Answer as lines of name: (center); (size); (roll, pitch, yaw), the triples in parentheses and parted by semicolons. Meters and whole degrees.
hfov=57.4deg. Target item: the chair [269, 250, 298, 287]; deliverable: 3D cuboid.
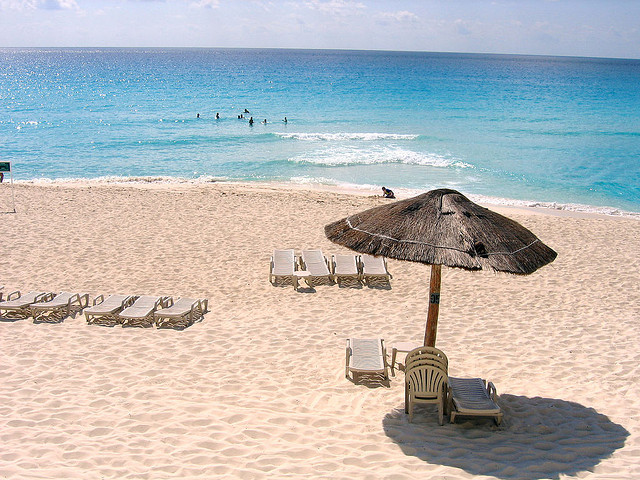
chair: (-0.912, 0.596, 14.231); (0.695, 0.238, 0.872); (1, 27, -1)

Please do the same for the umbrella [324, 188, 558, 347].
umbrella: (1.730, 0.015, 10.166); (3.696, 1.818, 3.478); (-18, 39, -42)

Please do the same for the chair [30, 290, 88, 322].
chair: (-5.526, 1.403, 12.378); (0.802, 0.251, 0.890); (0, 7, 5)

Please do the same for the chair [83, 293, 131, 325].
chair: (-4.431, 1.455, 12.325); (0.742, 0.232, 0.831); (1, 19, 1)

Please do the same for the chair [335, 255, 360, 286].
chair: (0.627, 0.657, 14.262); (0.765, 0.208, 0.679); (-2, 44, -4)

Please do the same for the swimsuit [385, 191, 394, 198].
swimsuit: (2.739, -1.749, 22.983); (0.306, 0.083, 0.213); (-27, -13, 15)

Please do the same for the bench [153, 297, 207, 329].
bench: (-3.043, 1.464, 12.343); (0.851, 0.244, 0.998); (0, 16, 1)

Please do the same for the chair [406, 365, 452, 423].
chair: (1.677, 2.404, 9.190); (0.688, 0.896, 0.526); (4, 25, 8)

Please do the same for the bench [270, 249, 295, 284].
bench: (-0.888, 0.595, 14.201); (0.687, 0.247, 0.732); (-1, 48, -3)

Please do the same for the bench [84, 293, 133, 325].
bench: (-4.470, 1.451, 12.280); (0.688, 0.395, 0.798); (3, 18, 9)

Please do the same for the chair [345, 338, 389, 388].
chair: (0.850, 2.192, 10.561); (0.783, 0.348, 0.939); (0, 24, 2)

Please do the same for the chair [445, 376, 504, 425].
chair: (2.425, 2.517, 9.309); (0.805, 0.562, 0.825); (3, 19, 7)

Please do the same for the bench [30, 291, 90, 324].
bench: (-5.533, 1.422, 12.307); (0.822, 0.270, 0.943); (1, 8, 1)
